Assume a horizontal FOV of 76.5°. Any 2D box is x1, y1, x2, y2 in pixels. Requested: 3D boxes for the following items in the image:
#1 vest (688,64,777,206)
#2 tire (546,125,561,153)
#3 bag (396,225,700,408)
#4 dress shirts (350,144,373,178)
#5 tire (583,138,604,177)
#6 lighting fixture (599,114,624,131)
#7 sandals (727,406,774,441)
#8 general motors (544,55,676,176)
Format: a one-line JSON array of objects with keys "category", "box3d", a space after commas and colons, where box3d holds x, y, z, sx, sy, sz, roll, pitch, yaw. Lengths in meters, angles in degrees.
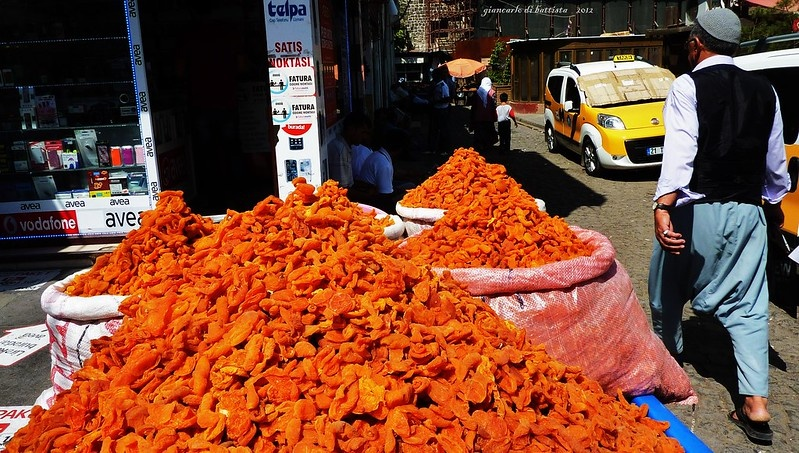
[{"category": "vest", "box3d": [2.850, -0.783, 4.342, 0.693, 1.179, 0.503, -1, 19, 18]}, {"category": "tire", "box3d": [4.542, -2.593, 14.896, 0.284, 0.872, 0.864, -3, 2, -5]}, {"category": "bag", "box3d": [1.367, 0.493, 4.491, 1.499, 0.642, 1.500, 2, 11, -30]}, {"category": "dress shirts", "box3d": [-0.574, -0.981, 7.635, 0.437, 0.480, 0.262, 18, 26, 38]}, {"category": "tire", "box3d": [4.588, -1.635, 11.932, 0.250, 0.761, 0.755, -8, -14, -11]}, {"category": "lighting fixture", "box3d": [4.836, -2.384, 11.544, 0.324, 0.163, 0.440, -6, 20, -23]}, {"category": "sandals", "box3d": [2.981, 1.696, 4.340, 0.152, 0.157, 0.369, -5, 12, -4]}, {"category": "general motors", "box3d": [5.301, -3.001, 12.892, 2.421, 2.040, 4.166, -4, 20, -3]}]
